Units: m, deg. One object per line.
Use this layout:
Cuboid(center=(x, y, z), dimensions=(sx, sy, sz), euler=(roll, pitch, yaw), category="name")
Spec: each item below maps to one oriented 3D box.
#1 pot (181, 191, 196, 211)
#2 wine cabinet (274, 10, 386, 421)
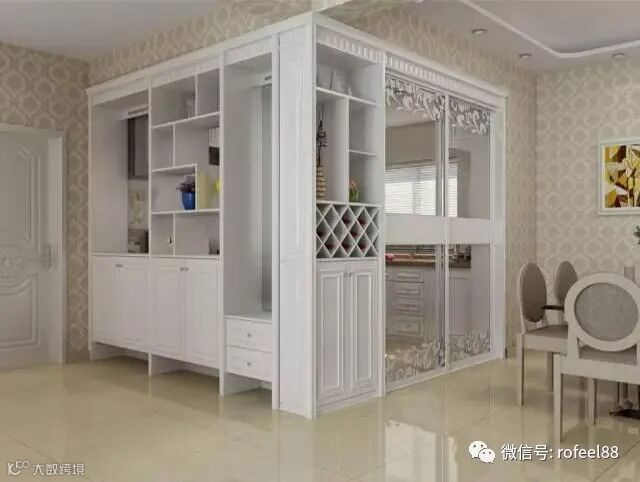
Cuboid(center=(-1.307, -0.410, 4.823), dimensions=(0.162, 0.193, 0.168), euler=(0, -1, 0), category="pot")
Cuboid(center=(0.114, -0.207, 4.158), dimensions=(0.960, 3.240, 0.437), euler=(-1, 2, -40), category="wine cabinet")
